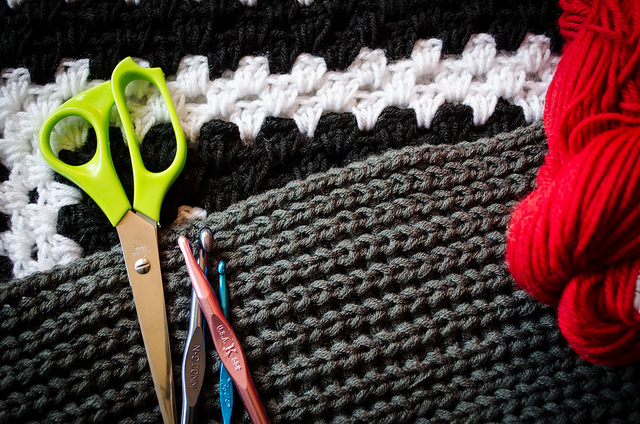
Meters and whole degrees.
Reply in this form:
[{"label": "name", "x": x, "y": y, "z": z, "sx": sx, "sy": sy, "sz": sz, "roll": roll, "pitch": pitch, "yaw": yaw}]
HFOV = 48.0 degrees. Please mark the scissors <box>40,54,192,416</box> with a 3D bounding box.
[{"label": "scissors", "x": -0.328, "y": -0.007, "z": 1.231, "sx": 0.225, "sy": 0.679, "sz": 0.076, "roll": -13, "pitch": -5, "yaw": -2}]
